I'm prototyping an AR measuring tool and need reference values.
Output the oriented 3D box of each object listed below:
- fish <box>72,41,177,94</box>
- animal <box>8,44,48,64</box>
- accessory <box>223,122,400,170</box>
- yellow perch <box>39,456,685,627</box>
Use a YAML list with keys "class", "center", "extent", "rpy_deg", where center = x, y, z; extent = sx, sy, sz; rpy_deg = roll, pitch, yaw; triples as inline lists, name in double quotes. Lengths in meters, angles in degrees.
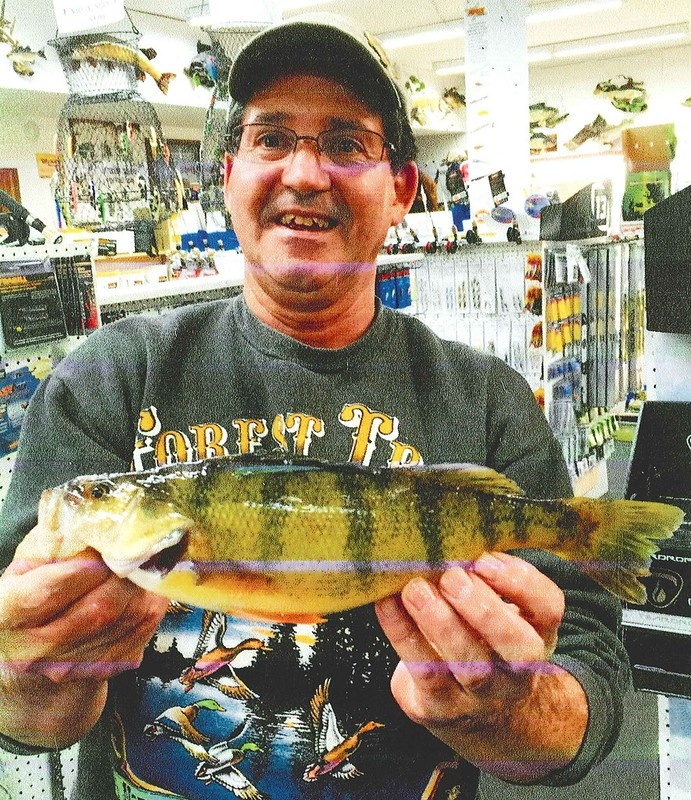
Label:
- class: "fish"
  center: [-0.454, -0.682, 1.517]
  extent: [0.109, 0.034, 0.046]
  rpy_deg: [18, -15, -12]
- class: "animal"
  center: [-0.622, -0.681, 1.458]
  extent: [0.072, 0.015, 0.041]
  rpy_deg: [7, 30, -25]
- class: "accessory"
  center: [-0.036, -0.345, 1.003]
  extent: [0.210, 0.072, 0.044]
  rpy_deg: [-7, 9, -4]
- class: "yellow perch"
  center: [-0.008, 0.180, 0.932]
  extent: [0.714, 0.287, 0.166]
  rpy_deg: [5, 2, -7]
